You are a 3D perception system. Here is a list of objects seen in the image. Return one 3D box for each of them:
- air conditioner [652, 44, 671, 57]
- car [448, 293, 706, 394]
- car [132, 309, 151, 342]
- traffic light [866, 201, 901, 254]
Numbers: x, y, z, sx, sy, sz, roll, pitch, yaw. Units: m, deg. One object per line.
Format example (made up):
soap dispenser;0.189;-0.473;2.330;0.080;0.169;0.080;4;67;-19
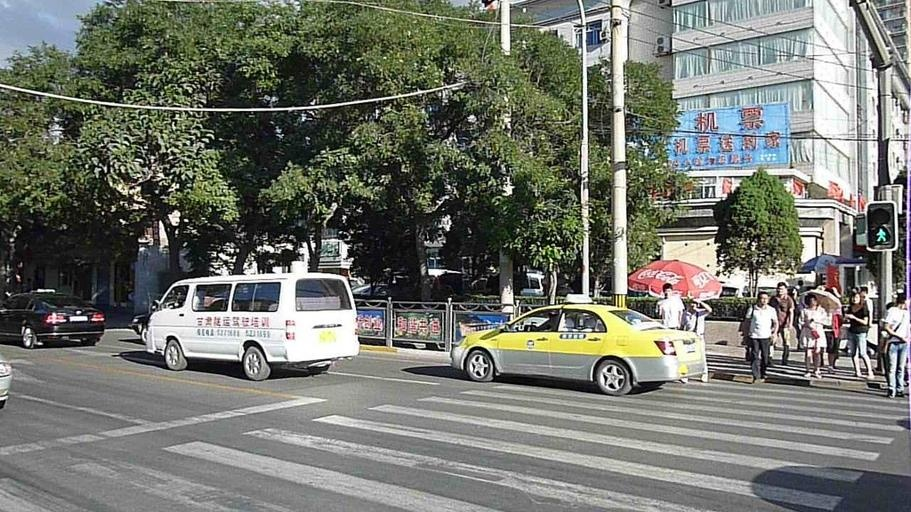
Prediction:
air conditioner;16.411;-16.503;65.948;0.585;0.956;1.429;3;-6;-34
car;4.164;3.123;29.145;7.680;2.116;3.214;2;-2;23
car;-14.932;3.302;39.211;0.721;1.593;1.310;-1;-4;-45
traffic light;14.397;-1.092;28.130;0.908;1.726;0.941;-3;-6;28
